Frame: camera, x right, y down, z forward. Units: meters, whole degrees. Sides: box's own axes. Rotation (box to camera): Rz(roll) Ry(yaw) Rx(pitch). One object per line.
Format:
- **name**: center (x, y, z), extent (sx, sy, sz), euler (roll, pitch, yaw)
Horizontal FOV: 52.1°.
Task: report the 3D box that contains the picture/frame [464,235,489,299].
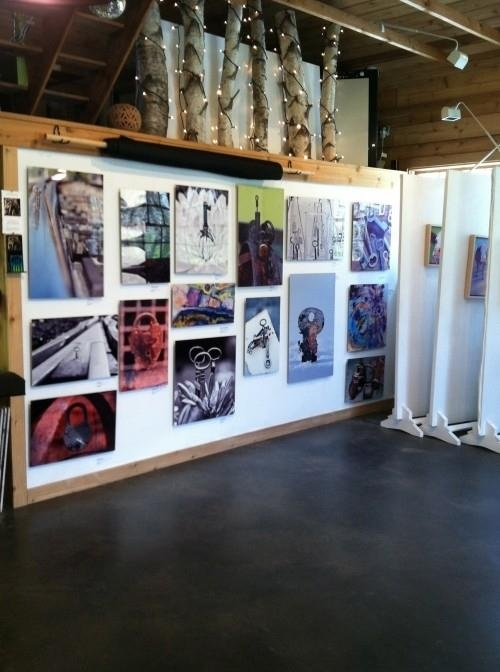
- **picture/frame**: center (2.117, -0.648, 4.797), extent (0.198, 0.580, 0.158), euler (1, 2, 11)
